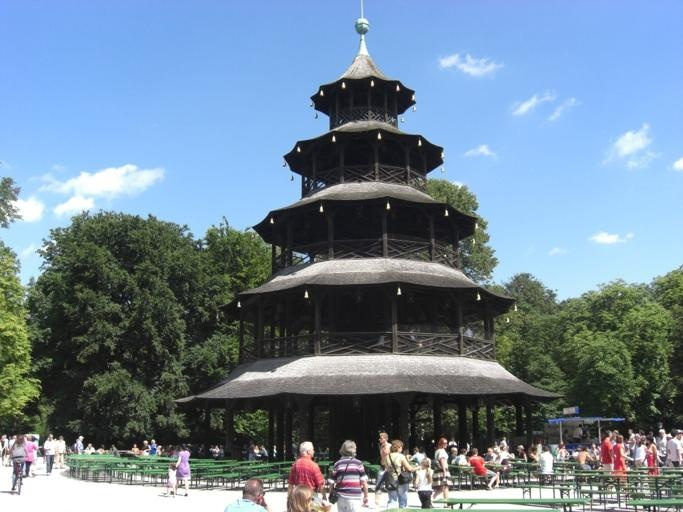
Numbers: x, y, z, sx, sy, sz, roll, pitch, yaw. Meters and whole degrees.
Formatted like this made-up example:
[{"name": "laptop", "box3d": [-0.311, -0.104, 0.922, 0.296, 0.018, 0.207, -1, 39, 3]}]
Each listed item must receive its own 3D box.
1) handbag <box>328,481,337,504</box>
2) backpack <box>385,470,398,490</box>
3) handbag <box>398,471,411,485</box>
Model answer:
[{"name": "handbag", "box3d": [-0.333, 9.509, 39.249, 0.346, 0.835, 0.235, -2, 5, 11]}, {"name": "backpack", "box3d": [2.139, 9.555, 41.755, 0.422, 0.862, 0.861, 1, -4, -42]}, {"name": "handbag", "box3d": [2.691, 9.453, 41.814, 0.782, 0.746, 0.439, 0, -10, 1]}]
